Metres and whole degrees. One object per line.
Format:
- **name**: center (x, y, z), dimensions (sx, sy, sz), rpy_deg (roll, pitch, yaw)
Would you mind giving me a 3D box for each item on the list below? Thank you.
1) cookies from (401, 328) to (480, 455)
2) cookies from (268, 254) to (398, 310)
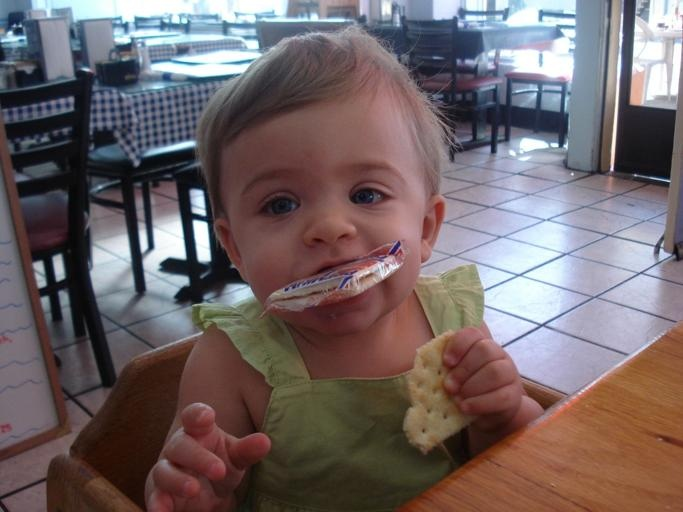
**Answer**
- **cookies**: center (0.120, 0.200, 0.787), dimensions (0.101, 0.148, 0.109), rpy_deg (-15, 25, -40)
- **cookies**: center (-0.007, 0.029, 0.627), dimensions (0.164, 0.059, 0.094), rpy_deg (-5, 22, -13)
